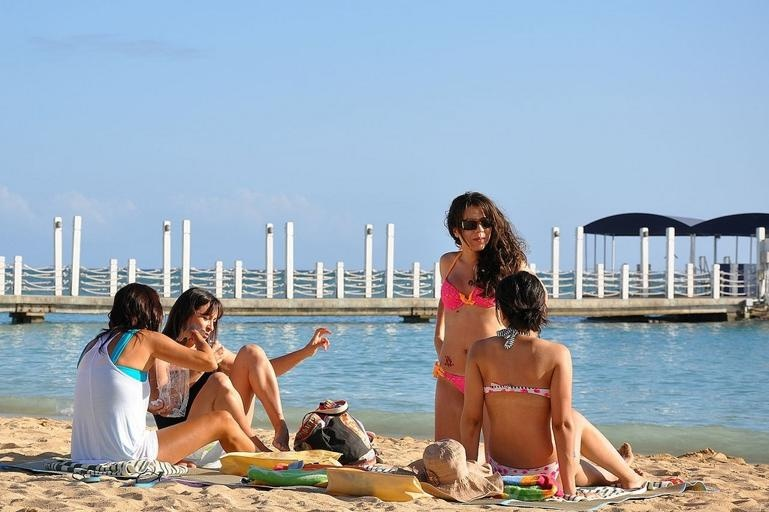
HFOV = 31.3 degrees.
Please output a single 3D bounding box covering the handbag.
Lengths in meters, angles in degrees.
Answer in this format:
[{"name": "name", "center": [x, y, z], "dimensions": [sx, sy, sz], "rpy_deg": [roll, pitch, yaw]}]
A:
[{"name": "handbag", "center": [-0.836, 2.734, 21.069], "dimensions": [1.181, 1.055, 0.829], "rpy_deg": [-10, 2, 3]}]
